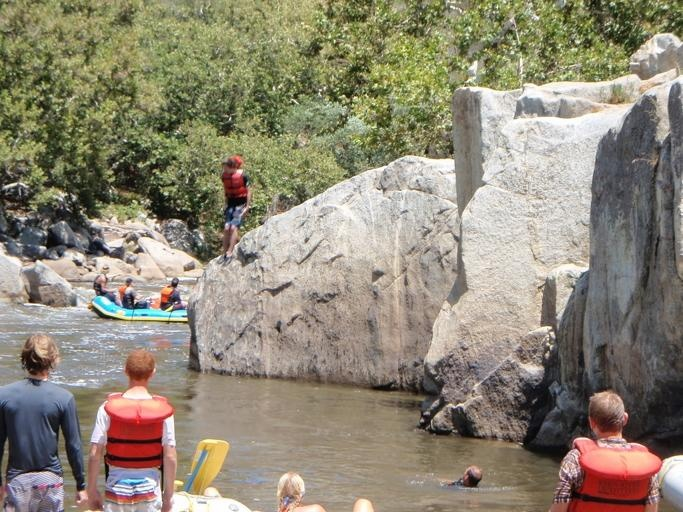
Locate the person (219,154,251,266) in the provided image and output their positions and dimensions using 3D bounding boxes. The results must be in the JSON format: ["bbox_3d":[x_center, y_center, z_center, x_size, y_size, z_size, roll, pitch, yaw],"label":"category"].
[{"bbox_3d":[-2.975,-1.459,45.247,0.613,3.289,0.573,-5,8,-31],"label":"person"}]
